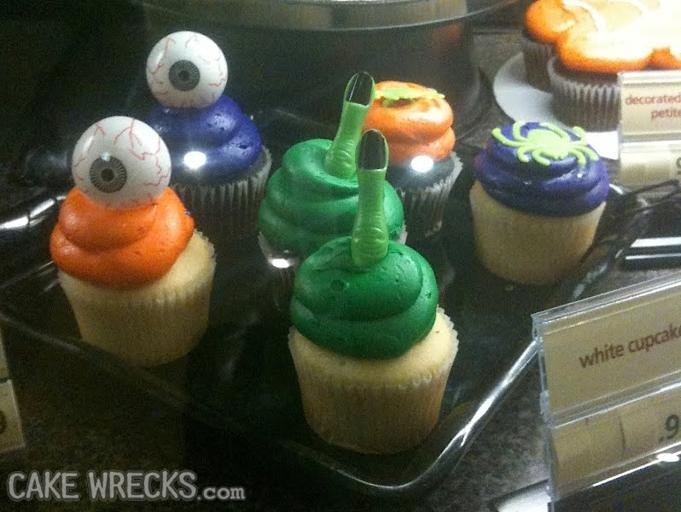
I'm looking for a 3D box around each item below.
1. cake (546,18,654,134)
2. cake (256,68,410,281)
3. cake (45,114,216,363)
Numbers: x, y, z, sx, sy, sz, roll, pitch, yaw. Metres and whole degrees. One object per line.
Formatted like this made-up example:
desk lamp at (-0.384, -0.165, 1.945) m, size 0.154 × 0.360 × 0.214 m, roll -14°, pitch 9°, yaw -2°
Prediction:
cake at (0.750, -0.530, 2.486) m, size 0.314 × 0.268 × 0.343 m, roll -2°, pitch 32°, yaw 4°
cake at (-0.022, -0.190, 1.904) m, size 0.328 × 0.447 × 0.309 m, roll -26°, pitch 49°, yaw -29°
cake at (-0.468, -0.020, 1.760) m, size 0.383 × 0.505 × 0.361 m, roll -17°, pitch 37°, yaw -29°
